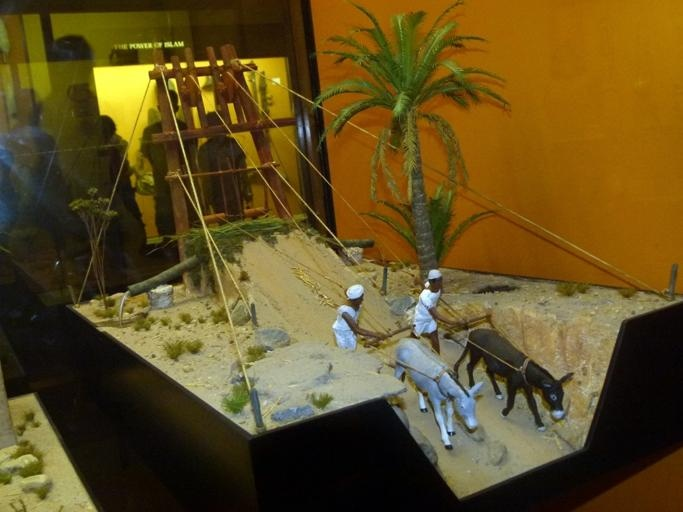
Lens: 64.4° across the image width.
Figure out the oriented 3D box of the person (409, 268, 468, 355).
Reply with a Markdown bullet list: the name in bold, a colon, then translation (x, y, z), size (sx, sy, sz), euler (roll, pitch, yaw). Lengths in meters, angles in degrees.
- **person**: translation (1.233, 0.674, 6.957), size (0.547, 1.084, 0.580), euler (-3, 13, -19)

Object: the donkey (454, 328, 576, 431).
- **donkey**: translation (2.068, 1.505, 6.665), size (0.428, 0.839, 1.667), euler (-10, 22, -29)
